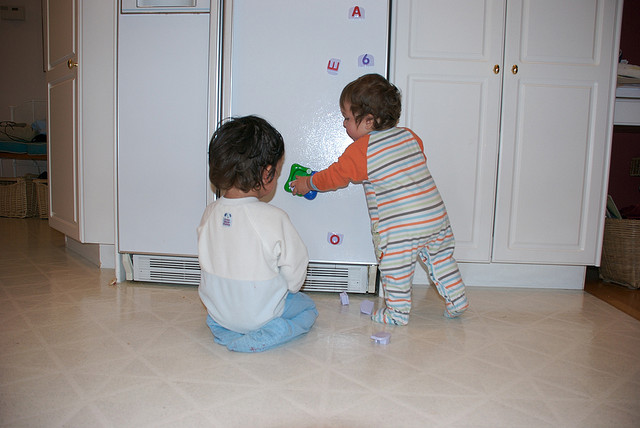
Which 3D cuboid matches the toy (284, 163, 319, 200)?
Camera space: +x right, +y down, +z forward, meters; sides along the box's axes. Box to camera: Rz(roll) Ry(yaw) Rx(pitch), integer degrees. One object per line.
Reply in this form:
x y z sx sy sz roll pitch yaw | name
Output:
-0.112 -0.173 2.257 0.171 0.172 0.054 18 14 8 | toy

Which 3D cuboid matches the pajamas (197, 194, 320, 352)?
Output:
-0.277 0.209 2.033 0.471 0.644 0.470 0 11 -22 | pajamas

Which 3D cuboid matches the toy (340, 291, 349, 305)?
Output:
0.121 0.440 2.290 0.043 0.065 0.051 -5 -8 -3 | toy

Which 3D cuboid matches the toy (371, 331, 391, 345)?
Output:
0.278 0.534 1.928 0.097 0.029 0.063 -7 15 -23 | toy

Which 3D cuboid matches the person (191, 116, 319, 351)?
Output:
-0.277 0.072 1.892 0.544 0.940 0.348 -3 14 -7 | person

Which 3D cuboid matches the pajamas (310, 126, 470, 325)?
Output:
0.346 0.046 2.154 0.636 0.900 0.383 -4 14 -13 | pajamas

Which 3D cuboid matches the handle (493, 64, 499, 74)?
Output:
0.949 -0.778 2.406 0.031 0.046 0.010 -3 14 -8 | handle

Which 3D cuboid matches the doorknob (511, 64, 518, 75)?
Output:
1.049 -0.781 2.410 0.029 0.039 0.018 4 6 -12 | doorknob

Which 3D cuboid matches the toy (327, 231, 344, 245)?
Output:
0.084 0.121 2.345 0.094 0.064 0.031 6 0 1 | toy

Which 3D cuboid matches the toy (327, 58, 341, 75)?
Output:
0.068 -0.750 2.285 0.061 0.080 0.028 7 11 4 | toy

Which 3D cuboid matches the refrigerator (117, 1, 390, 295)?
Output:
-0.423 -0.429 2.981 1.494 1.508 0.814 0 10 -2 | refrigerator

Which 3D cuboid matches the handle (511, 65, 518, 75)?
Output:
1.049 -0.780 2.411 0.028 0.038 0.021 4 3 -12 | handle
